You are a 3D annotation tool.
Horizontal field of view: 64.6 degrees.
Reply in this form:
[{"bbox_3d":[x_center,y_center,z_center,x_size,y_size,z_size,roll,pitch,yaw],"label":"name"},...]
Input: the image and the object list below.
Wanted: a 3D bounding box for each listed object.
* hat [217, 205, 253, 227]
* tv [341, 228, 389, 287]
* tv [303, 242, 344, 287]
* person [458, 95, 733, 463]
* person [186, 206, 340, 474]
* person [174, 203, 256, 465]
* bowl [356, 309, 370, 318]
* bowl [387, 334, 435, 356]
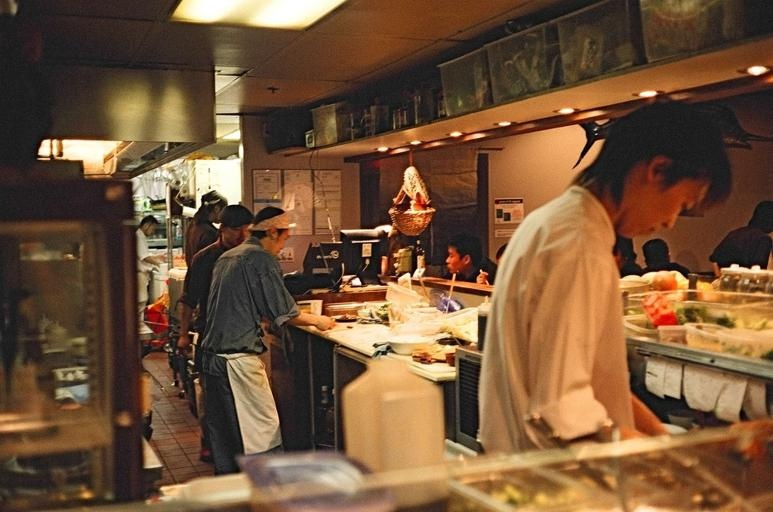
[{"bbox_3d":[-1.242,-0.330,4.963,0.198,0.117,0.244,-8,13,-19],"label":"hat"},{"bbox_3d":[-0.235,0.034,6.088,0.614,0.514,0.304,-2,15,-17],"label":"tv"},{"bbox_3d":[-0.612,0.086,5.786,0.457,0.496,0.407,1,-5,-19],"label":"tv"},{"bbox_3d":[0.702,0.093,1.985,0.708,1.149,0.375,-2,4,-15],"label":"person"},{"bbox_3d":[-0.935,0.617,4.237,0.666,1.897,0.470,-2,4,-16],"label":"person"},{"bbox_3d":[-1.589,0.293,5.847,0.743,1.956,0.575,-5,-21,-23],"label":"person"},{"bbox_3d":[-0.198,0.496,5.278,0.098,0.059,0.163,-1,3,-6],"label":"bowl"},{"bbox_3d":[0.162,0.587,4.055,0.310,0.101,0.301,-1,3,0],"label":"bowl"}]
